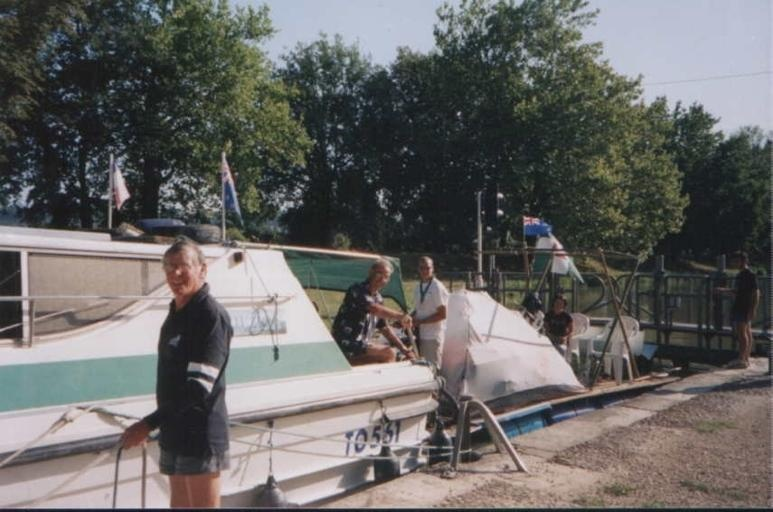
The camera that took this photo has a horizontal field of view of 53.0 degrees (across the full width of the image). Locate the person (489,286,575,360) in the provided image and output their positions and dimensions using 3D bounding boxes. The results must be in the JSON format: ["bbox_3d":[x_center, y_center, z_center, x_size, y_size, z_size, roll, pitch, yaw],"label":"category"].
[{"bbox_3d":[3.718,1.662,19.939,2.051,1.341,1.028,3,3,16],"label":"person"}]

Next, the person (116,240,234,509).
[{"bbox_3d":[-3.306,1.966,12.991,1.397,4.482,0.529,1,-1,-12],"label":"person"}]

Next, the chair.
[{"bbox_3d":[5.608,2.368,20.774,1.963,2.625,1.555,11,-10,-43],"label":"chair"}]
